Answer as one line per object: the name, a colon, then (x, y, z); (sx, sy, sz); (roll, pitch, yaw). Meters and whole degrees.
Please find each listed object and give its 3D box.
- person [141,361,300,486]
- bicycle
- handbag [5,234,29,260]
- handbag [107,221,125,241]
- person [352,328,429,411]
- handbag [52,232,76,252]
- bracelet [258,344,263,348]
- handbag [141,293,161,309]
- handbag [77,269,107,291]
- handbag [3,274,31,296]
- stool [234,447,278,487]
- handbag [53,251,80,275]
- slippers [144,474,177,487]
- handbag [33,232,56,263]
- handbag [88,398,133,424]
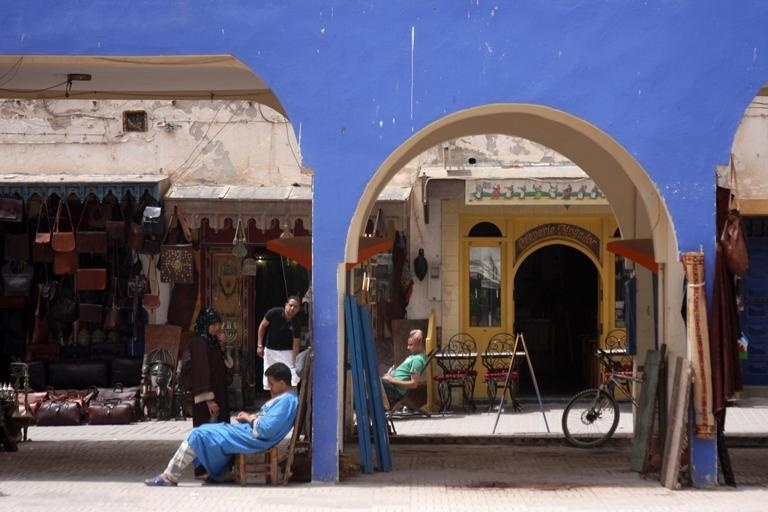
person: (-2.210, 2.320, 12.073); (1.996, 1.619, 0.996); (5, -8, -20)
bicycle: (3.566, 2.300, 14.720); (1.121, 1.296, 3.942); (0, 3, 13)
handbag: (-6.847, -0.158, 16.492); (0.413, 0.492, 0.092); (-1, 3, -3)
handbag: (-4.918, -0.500, 16.387); (0.370, 0.401, 0.284); (1, 5, 0)
person: (0.218, 2.085, 15.090); (0.877, 1.733, 0.712); (15, 8, 10)
handbag: (-5.890, -0.258, 16.226); (0.314, 0.321, 0.115); (0, 8, -6)
bracelet: (-2.176, 1.594, 15.511); (0.057, 0.058, 0.059); (1, 1, -7)
handbag: (-4.375, 0.850, 16.621); (0.249, 0.233, 0.263); (-4, 0, 3)
handbag: (-5.400, 0.439, 16.351); (0.394, 0.271, 0.417); (0, -4, 4)
handbag: (-6.818, 0.534, 16.421); (0.368, 0.373, 0.130); (0, -6, -7)
stool: (-1.705, 2.838, 11.881); (0.474, 0.411, 0.501); (0, -11, 2)
handbag: (-5.883, 0.142, 16.320); (0.406, 0.417, 0.101); (1, -2, -9)
slippers: (-3.010, 3.056, 11.978); (0.441, 0.160, 0.178); (5, -8, 10)
handbag: (-6.338, -0.155, 16.418); (0.369, 0.559, 0.190); (2, 2, 2)
handbag: (-4.885, 2.850, 15.852); (0.766, 0.457, 0.335); (2, 9, -4)
